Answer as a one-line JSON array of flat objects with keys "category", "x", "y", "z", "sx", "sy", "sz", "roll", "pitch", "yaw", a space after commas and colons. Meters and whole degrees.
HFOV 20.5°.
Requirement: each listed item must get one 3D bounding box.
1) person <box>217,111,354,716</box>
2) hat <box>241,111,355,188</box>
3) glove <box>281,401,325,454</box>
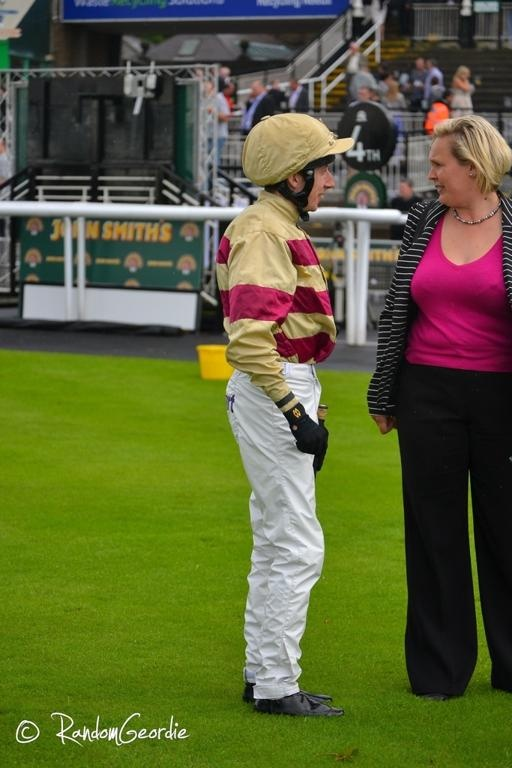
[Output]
[{"category": "person", "x": 0.079, "y": 0.059, "z": 3.425, "sx": 0.368, "sy": 1.416, "sz": 0.422, "roll": 5, "pitch": 10, "yaw": -8}, {"category": "hat", "x": 0.104, "y": -0.571, "z": 3.357, "sx": 0.218, "sy": 0.118, "sz": 0.157, "roll": -15, "pitch": 18, "yaw": -4}, {"category": "glove", "x": 0.115, "y": 0.103, "z": 3.286, "sx": 0.078, "sy": 0.127, "sz": 0.053, "roll": -39, "pitch": 18, "yaw": -17}]
